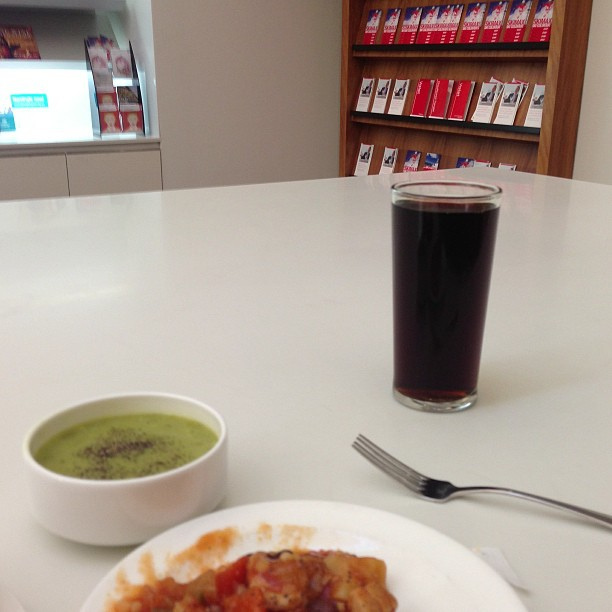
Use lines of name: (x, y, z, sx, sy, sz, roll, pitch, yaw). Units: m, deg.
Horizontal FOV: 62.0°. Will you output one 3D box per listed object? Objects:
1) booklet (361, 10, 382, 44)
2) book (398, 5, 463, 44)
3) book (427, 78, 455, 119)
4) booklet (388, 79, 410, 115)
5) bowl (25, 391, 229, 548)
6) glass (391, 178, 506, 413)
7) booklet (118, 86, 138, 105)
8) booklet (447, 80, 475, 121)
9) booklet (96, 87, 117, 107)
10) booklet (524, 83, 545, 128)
booklet: (0.475, -1.988, 3.604, 0.084, 0.225, 0.134, -11, 23, -29)
book: (0.811, -1.794, 3.231, 0.411, 0.299, 0.046, 8, -4, 45)
book: (0.918, -1.348, 3.302, 0.144, 0.240, 0.027, -10, 21, -38)
booklet: (0.645, -1.460, 3.537, 0.125, 0.223, 0.081, 18, 26, 39)
bowl: (-0.110, 0.095, 0.319, 0.101, 0.034, 0.093, 4, 18, -1)
glass: (0.126, -0.012, 0.477, 0.105, 0.198, 0.114, 6, 21, 14)
booklet: (-1.184, -1.410, 3.386, 0.130, 0.131, 0.017, -2, 9, -14)
booklet: (0.975, -1.294, 3.193, 0.057, 0.236, 0.234, 5, 6, -11)
booklet: (-1.310, -1.380, 3.344, 0.136, 0.138, 0.011, -6, -6, -21)
booklet: (1.282, -1.114, 2.805, 0.093, 0.165, 0.016, 17, 24, 7)
